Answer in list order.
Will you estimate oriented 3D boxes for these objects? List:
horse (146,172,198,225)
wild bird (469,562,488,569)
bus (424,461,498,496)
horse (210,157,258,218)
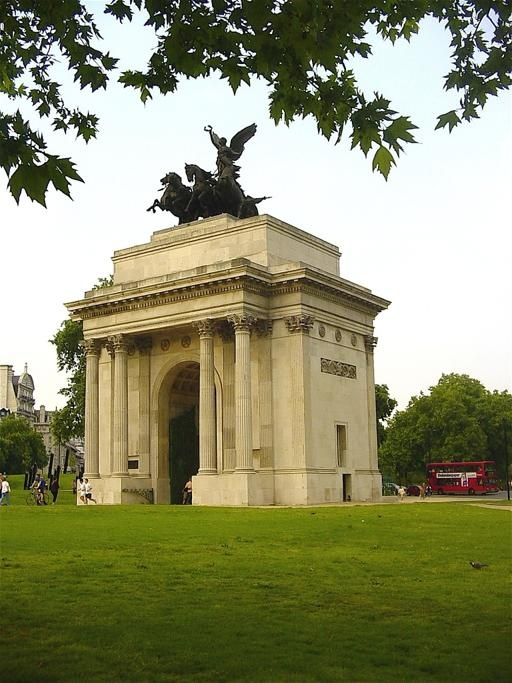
[{"bbox_3d":[-5.270,-9.735,54.715,4.344,3.951,1.320,-5,-12,22],"label":"horse"},{"bbox_3d":[4.557,4.602,16.440,0.310,0.127,0.600,-5,-12,11],"label":"wild bird"},{"bbox_3d":[21.816,14.641,85.430,1.776,3.562,7.721,6,-15,-37],"label":"bus"},{"bbox_3d":[-1.484,-9.729,51.770,2.332,3.575,1.129,7,-15,-38],"label":"horse"}]
